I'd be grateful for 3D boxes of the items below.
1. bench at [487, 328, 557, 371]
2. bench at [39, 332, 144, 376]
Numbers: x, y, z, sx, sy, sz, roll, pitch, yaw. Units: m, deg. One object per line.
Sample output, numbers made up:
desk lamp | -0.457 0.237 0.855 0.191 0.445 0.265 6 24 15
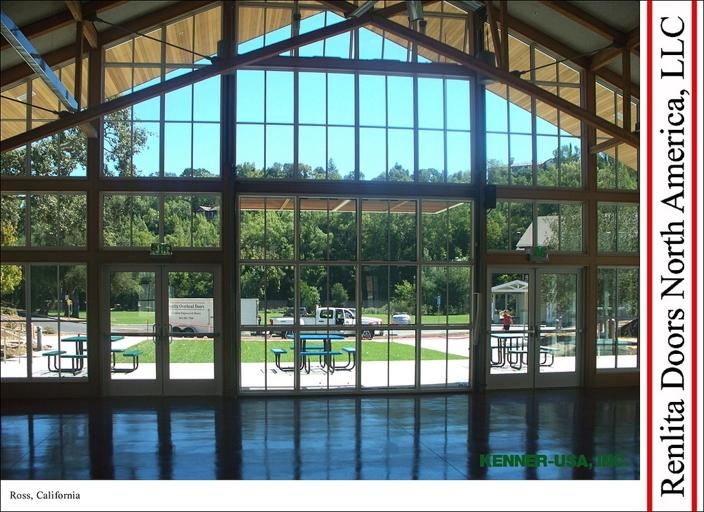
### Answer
bench | 3.613 1.996 18.310 1.419 0.847 0.229 -2 12 -10
bench | -5.303 1.972 17.305 1.919 0.806 0.231 -1 12 -7
